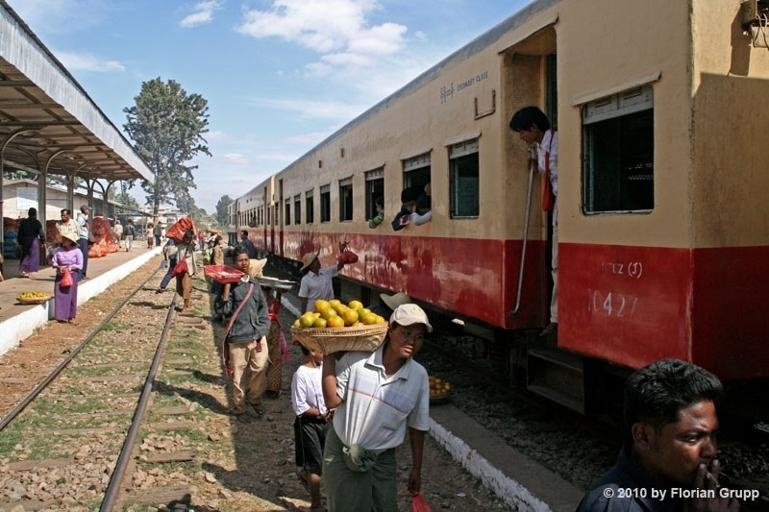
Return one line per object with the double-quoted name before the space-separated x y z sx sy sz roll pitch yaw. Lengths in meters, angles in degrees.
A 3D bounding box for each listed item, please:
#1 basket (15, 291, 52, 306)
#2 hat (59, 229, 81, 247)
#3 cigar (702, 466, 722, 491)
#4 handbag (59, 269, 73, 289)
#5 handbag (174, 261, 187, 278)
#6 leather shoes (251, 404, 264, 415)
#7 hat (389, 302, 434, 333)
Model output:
"basket" -7.526 0.913 11.491 0.571 0.227 0.505 -5 8 -32
"hat" -6.410 -0.379 10.904 0.231 0.319 0.363 5 9 41
"cigar" 1.604 1.093 2.636 0.066 0.091 0.036 0 -6 2
"handbag" -6.750 0.499 11.345 0.252 0.471 0.745 -5 8 -32
"handbag" -4.952 0.335 13.020 0.208 0.393 0.401 1 -1 14
"leather shoes" -1.701 2.070 7.196 0.080 0.246 0.098 -5 4 18
"hat" 0.153 0.448 3.898 0.190 0.134 0.260 6 -9 -16
